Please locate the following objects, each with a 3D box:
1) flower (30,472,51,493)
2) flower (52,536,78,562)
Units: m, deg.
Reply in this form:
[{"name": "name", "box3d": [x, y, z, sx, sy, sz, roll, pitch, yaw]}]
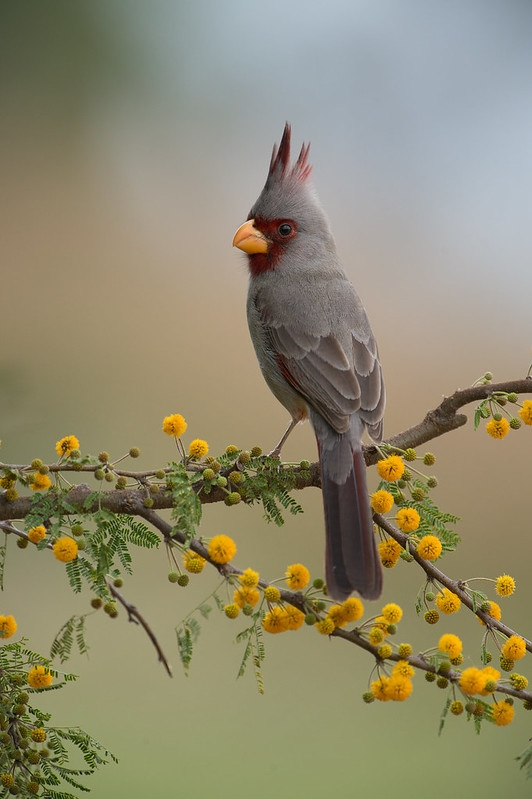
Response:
[{"name": "flower", "box3d": [-0.400, 0.145, 1.653, 0.029, 0.029, 0.027, -27, -48, -35]}, {"name": "flower", "box3d": [-0.339, 0.251, 1.583, 0.050, 0.041, 0.042, 2, -5, -5]}]
